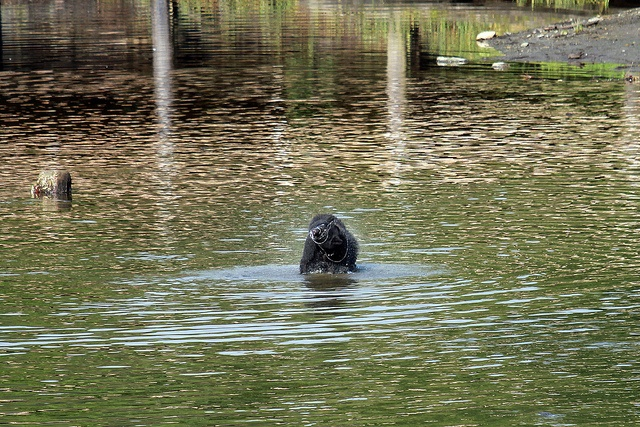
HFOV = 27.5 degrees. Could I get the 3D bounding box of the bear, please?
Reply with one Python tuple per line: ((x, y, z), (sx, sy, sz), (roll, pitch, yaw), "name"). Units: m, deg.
((0.113, 0.533, 22.222), (0.969, 1.035, 0.591), (-1, 7, -1), "bear")
